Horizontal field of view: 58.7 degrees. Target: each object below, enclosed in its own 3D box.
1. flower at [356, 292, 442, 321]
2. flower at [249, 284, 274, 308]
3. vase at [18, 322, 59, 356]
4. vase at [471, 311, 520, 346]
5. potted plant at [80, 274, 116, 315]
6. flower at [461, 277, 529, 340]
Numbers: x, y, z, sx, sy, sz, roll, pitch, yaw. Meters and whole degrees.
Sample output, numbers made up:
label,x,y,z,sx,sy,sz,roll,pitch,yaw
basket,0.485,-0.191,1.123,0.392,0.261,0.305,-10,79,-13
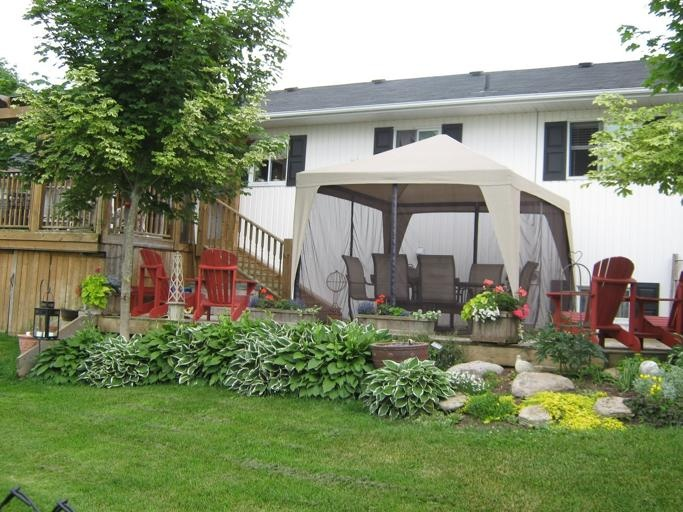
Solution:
label,x,y,z,sx,sy,sz,roll,pitch,yaw
flower,0.918,0.911,9.989,1.264,0.292,0.913,3,14,22
flower,-1.415,0.729,10.734,0.341,0.356,0.359,3,7,15
vase,-5.059,1.390,10.159,0.664,0.517,0.646,-1,-1,34
vase,2.332,1.035,9.108,0.520,0.418,0.524,1,0,43
potted plant,-4.605,0.749,11.391,0.641,0.669,0.669,1,-3,-13
flower,2.299,0.799,9.298,0.868,0.938,0.920,0,1,14
